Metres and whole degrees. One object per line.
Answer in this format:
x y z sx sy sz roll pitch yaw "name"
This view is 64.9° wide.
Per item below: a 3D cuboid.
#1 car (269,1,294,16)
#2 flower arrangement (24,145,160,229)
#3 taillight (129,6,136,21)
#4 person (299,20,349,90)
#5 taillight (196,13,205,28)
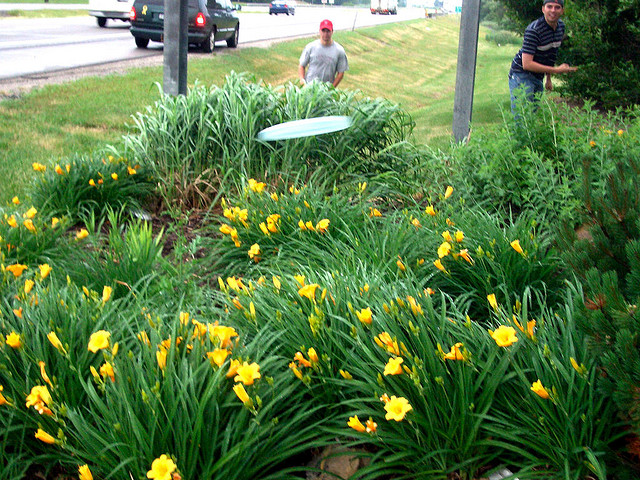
-4.597 -27.560 59.577 2.736 1.435 1.525 -1 21 -5 "car"
-2.389 -0.566 5.409 1.367 0.599 1.136 -14 27 -33 "flower arrangement"
-6.937 -8.431 18.711 0.175 0.496 0.345 -7 21 -23 "taillight"
0.060 -3.359 9.005 0.830 1.038 0.607 1 19 -1 "person"
-4.455 -8.173 18.703 0.299 0.498 0.301 -7 20 -21 "taillight"
